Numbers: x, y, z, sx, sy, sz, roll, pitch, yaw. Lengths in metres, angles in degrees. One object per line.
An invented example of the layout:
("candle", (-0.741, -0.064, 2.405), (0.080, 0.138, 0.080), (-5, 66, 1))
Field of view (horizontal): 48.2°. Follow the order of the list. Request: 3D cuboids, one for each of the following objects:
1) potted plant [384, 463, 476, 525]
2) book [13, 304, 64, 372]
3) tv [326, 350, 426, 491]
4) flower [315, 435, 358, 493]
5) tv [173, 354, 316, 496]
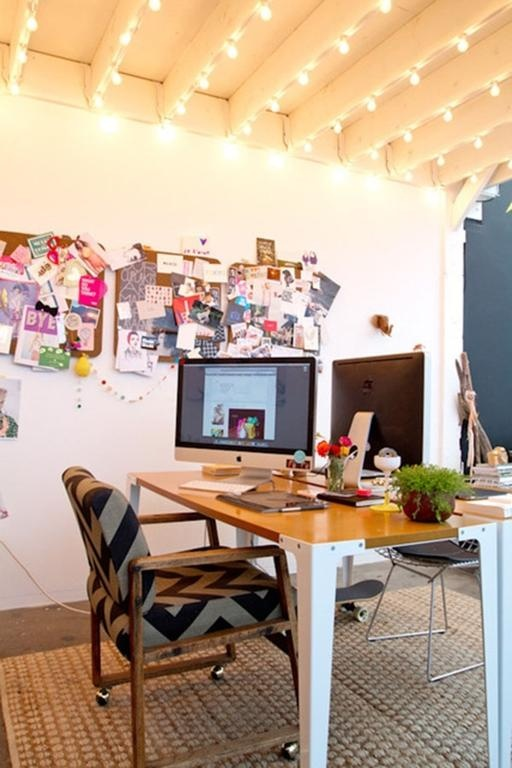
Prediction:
("potted plant", (0.434, 0.273, 1.416), (0.170, 0.132, 0.165), (-5, -13, 42))
("book", (-1.082, -0.227, 2.809), (0.308, 0.419, 0.041), (5, -6, -35))
("tv", (0.397, 0.125, 1.848), (0.160, 0.483, 0.470), (-1, 1, -28))
("flower", (0.266, 0.253, 1.796), (0.136, 0.162, 0.150), (-5, -16, 35))
("tv", (-0.035, 0.145, 2.067), (0.447, 0.341, 0.150), (-3, -8, 38))
